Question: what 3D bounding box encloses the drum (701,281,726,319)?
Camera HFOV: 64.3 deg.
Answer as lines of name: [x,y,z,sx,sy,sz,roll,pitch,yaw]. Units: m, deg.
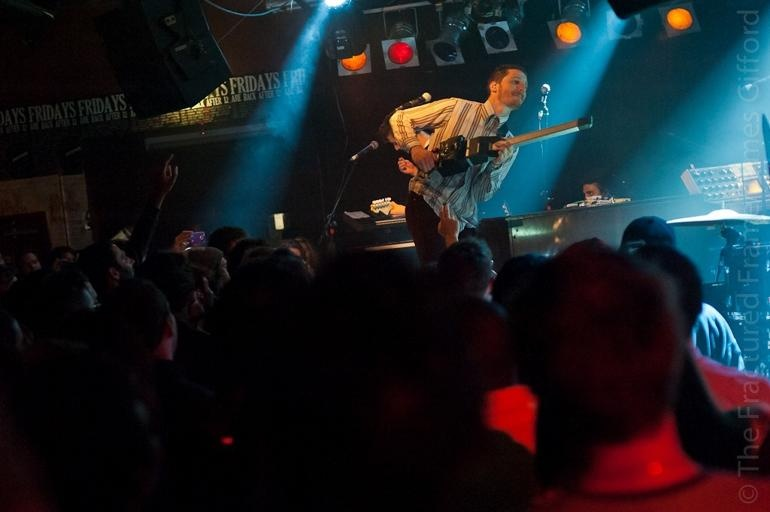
drum: [2.563,0.338,4.766,0.146,0.276,0.152,5,-8,1]
